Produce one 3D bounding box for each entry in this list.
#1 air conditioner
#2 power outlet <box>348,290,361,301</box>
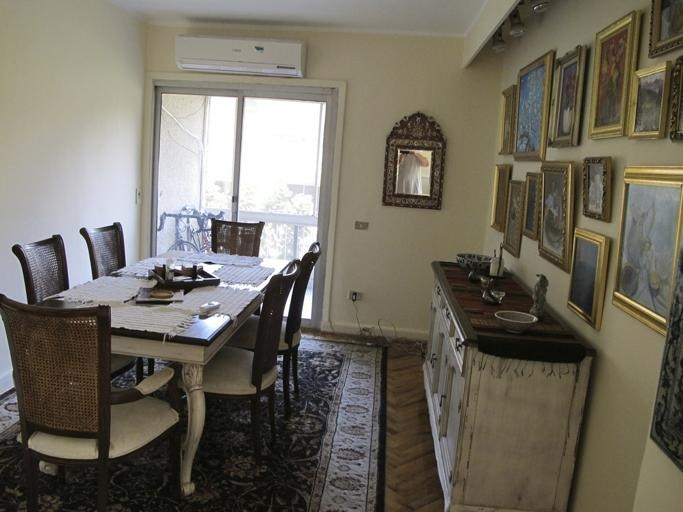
[{"bbox_3d":[-0.960,-1.817,4.766,1.187,0.392,0.286,2,-14,-3],"label":"air conditioner"},{"bbox_3d":[0.135,0.397,4.978,0.092,0.096,0.023,4,12,4],"label":"power outlet"}]
